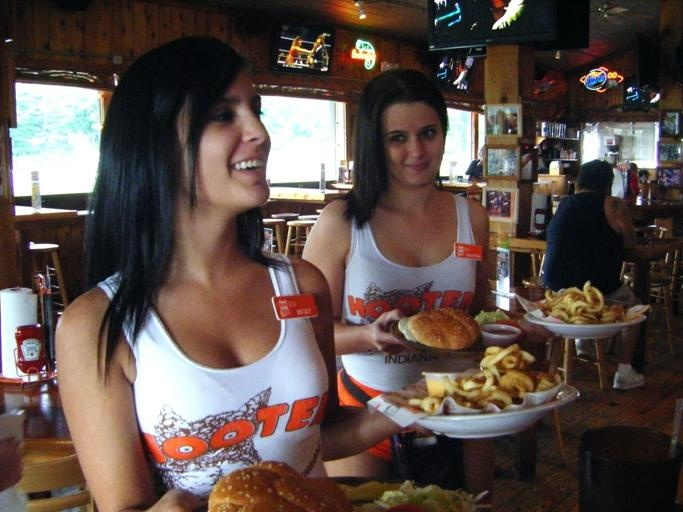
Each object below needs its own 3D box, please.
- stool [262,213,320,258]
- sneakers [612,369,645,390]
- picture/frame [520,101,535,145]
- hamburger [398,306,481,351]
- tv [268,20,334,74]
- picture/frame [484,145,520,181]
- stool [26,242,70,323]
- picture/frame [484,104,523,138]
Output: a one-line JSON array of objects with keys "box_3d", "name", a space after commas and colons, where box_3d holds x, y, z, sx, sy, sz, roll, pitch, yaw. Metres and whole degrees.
[{"box_3d": [-0.757, -0.343, 7.974, 0.814, 0.945, 0.768, 0, 3, 5], "name": "stool"}, {"box_3d": [2.377, 1.012, 4.613, 0.286, 0.163, 0.132, -12, 15, -31], "name": "sneakers"}, {"box_3d": [1.682, -1.207, 4.996, 0.042, 0.470, 0.445, 0, 3, 25], "name": "picture/frame"}, {"box_3d": [0.322, 0.236, 1.766, 0.164, 0.047, 0.149, 9, 19, 26], "name": "hamburger"}, {"box_3d": [-0.577, -3.177, 8.499, 1.191, 0.682, 0.056, 23, 26, 35], "name": "tv"}, {"box_3d": [1.481, -0.862, 5.028, 0.341, 0.308, 0.035, 9, 14, 39], "name": "picture/frame"}, {"box_3d": [-3.191, 0.237, 5.958, 0.535, 0.725, 0.578, -4, 19, -27], "name": "stool"}, {"box_3d": [1.484, -1.231, 4.991, 0.362, 0.295, 0.037, 4, 7, 42], "name": "picture/frame"}]
